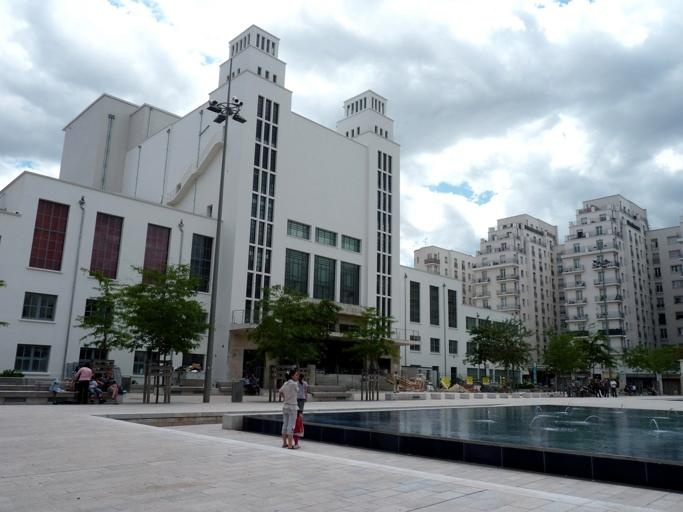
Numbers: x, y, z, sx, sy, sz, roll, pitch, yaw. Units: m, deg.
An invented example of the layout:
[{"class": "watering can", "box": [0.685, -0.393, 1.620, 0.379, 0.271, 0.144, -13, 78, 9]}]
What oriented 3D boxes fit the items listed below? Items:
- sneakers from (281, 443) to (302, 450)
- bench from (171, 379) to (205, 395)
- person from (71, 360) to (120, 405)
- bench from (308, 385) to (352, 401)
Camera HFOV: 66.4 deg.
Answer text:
[{"class": "sneakers", "box": [-1.239, 4.834, 13.202, 0.530, 0.192, 0.167, 1, -15, -4]}, {"class": "bench", "box": [-10.192, 8.867, 35.019, 1.647, 0.334, 1.468, -2, -8, 21]}, {"class": "person", "box": [-11.386, 5.944, 24.313, 0.851, 1.401, 1.589, -21, -26, 34]}, {"class": "bench", "box": [-0.761, 8.734, 33.251, 2.146, 0.898, 3.876, -6, -17, 30]}]
